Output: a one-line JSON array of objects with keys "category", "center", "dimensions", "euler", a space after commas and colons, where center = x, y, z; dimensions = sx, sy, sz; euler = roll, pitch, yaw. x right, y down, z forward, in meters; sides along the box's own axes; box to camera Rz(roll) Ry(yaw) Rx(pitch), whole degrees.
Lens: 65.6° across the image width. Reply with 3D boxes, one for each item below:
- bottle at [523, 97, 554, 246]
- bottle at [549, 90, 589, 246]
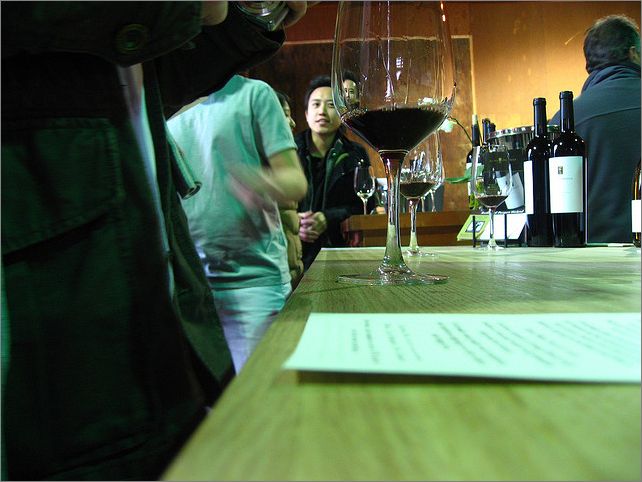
[{"category": "bottle", "center": [0.521, -0.163, 1.171], "dimensions": [0.065, 0.347, 0.127], "euler": [2, 9, 22]}, {"category": "bottle", "center": [0.568, -0.166, 1.122], "dimensions": [0.080, 0.346, 0.198], "euler": [3, 10, 28]}]
